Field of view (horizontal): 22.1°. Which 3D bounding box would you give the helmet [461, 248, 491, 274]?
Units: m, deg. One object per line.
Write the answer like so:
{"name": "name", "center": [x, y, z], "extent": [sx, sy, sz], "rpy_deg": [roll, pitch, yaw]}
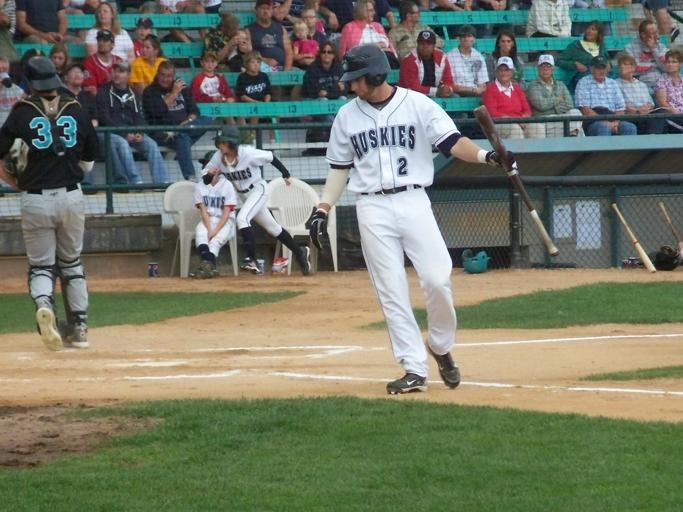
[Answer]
{"name": "helmet", "center": [2.060, 0.056, 27.013], "extent": [0.425, 0.316, 0.377], "rpy_deg": [-1, 0, 38]}

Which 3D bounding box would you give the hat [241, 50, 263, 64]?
{"name": "hat", "center": [-1.445, -3.204, 28.180], "extent": [0.274, 0.185, 0.316], "rpy_deg": [-3, 0, -5]}

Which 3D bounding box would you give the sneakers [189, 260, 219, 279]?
{"name": "sneakers", "center": [-2.086, 0.200, 26.755], "extent": [0.519, 0.235, 0.196], "rpy_deg": [2, -8, 2]}

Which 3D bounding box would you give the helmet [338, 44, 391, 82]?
{"name": "helmet", "center": [0.261, -2.223, 20.033], "extent": [0.505, 0.303, 0.386], "rpy_deg": [-4, 4, -23]}

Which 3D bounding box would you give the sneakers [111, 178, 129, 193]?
{"name": "sneakers", "center": [-3.512, -1.160, 27.871], "extent": [0.238, 0.272, 0.242], "rpy_deg": [-3, 0, -8]}

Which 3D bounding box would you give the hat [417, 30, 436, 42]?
{"name": "hat", "center": [1.363, -3.591, 28.510], "extent": [0.288, 0.174, 0.244], "rpy_deg": [-3, 0, 4]}

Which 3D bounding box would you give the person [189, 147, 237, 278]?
{"name": "person", "center": [-1.978, -0.514, 26.956], "extent": [0.466, 1.820, 0.808], "rpy_deg": [-3, 0, 31]}

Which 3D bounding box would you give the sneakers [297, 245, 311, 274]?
{"name": "sneakers", "center": [-0.586, 0.045, 27.200], "extent": [0.177, 0.437, 0.147], "rpy_deg": [-13, 8, -16]}

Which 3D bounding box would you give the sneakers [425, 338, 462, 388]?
{"name": "sneakers", "center": [1.220, 1.230, 20.330], "extent": [0.235, 0.645, 0.259], "rpy_deg": [-31, 10, -20]}

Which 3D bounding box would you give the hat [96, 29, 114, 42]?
{"name": "hat", "center": [-3.687, -3.451, 27.486], "extent": [0.313, 0.191, 0.249], "rpy_deg": [-3, 0, -28]}

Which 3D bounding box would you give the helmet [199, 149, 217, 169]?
{"name": "helmet", "center": [-2.127, -1.541, 27.606], "extent": [0.321, 0.383, 0.345], "rpy_deg": [1, 2, 16]}

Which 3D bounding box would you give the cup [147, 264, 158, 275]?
{"name": "cup", "center": [-2.934, 0.191, 27.507], "extent": [0.120, 0.208, 0.233], "rpy_deg": [-3, 0, 40]}

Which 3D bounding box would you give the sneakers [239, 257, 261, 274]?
{"name": "sneakers", "center": [-1.399, 0.145, 27.103], "extent": [0.165, 0.172, 0.385], "rpy_deg": [-3, -16, 14]}

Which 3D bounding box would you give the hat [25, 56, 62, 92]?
{"name": "hat", "center": [-3.695, -2.265, 21.701], "extent": [0.422, 0.429, 0.325], "rpy_deg": [-3, 0, -10]}

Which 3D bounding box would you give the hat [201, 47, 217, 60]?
{"name": "hat", "center": [-2.143, -3.280, 28.314], "extent": [0.239, 0.162, 0.430], "rpy_deg": [-3, 0, -5]}

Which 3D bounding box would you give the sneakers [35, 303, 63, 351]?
{"name": "sneakers", "center": [-3.612, 0.863, 21.715], "extent": [0.241, 0.596, 0.252], "rpy_deg": [-8, 6, 4]}

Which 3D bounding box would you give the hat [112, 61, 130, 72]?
{"name": "hat", "center": [-3.398, -2.966, 27.261], "extent": [0.328, 0.157, 0.159], "rpy_deg": [-3, 0, -44]}

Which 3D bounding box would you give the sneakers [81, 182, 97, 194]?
{"name": "sneakers", "center": [-3.997, -1.090, 27.739], "extent": [0.189, 0.182, 0.172], "rpy_deg": [3, 0, -12]}
